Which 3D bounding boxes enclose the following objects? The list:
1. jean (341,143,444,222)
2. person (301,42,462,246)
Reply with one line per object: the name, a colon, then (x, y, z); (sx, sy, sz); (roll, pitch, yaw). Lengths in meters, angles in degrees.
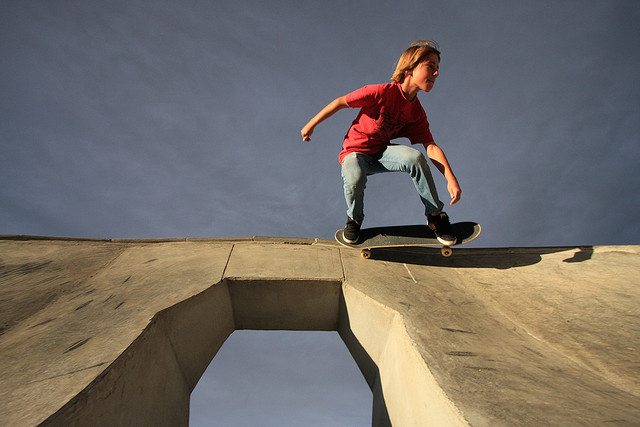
jean: (0.880, -0.275, 5.170); (1.095, 1.219, 0.885); (-8, -20, 5)
person: (0.847, -0.738, 5.003); (1.369, 2.366, 0.651); (-8, -10, 12)
